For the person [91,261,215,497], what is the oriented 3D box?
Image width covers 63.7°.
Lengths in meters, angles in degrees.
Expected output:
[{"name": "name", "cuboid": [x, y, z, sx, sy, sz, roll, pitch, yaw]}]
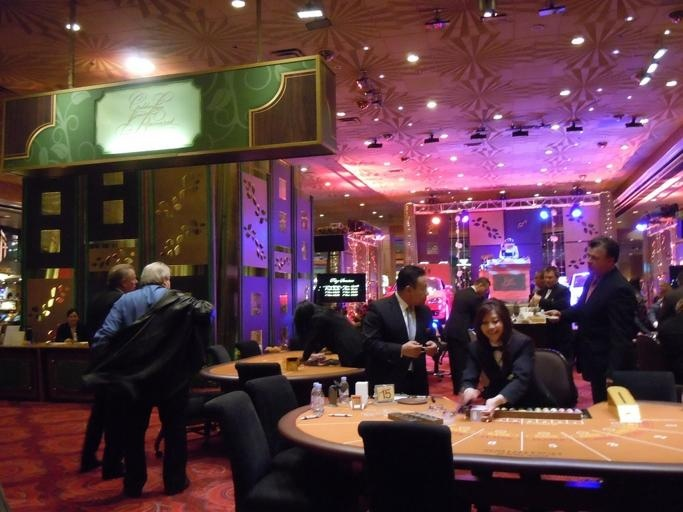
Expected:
[{"name": "person", "cuboid": [-1.625, 1.055, 4.624, 0.958, 1.943, 0.458, 2, -3, -25]}]

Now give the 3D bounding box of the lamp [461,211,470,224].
[{"name": "lamp", "cuboid": [3.886, -1.233, 17.118, 0.214, 0.331, 0.489, 0, -3, 19]}]

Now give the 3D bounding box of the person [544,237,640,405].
[{"name": "person", "cuboid": [2.255, 0.867, 4.821, 0.604, 2.024, 0.863, 1, 0, 0]}]

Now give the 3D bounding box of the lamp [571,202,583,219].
[{"name": "lamp", "cuboid": [7.153, -1.391, 16.619, 0.369, 0.506, 0.267, -14, -19, 32]}]

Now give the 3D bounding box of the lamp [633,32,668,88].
[{"name": "lamp", "cuboid": [4.935, -3.026, 8.653, 0.236, 0.134, 1.447, 26, -6, 17]}]

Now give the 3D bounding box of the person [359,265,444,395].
[{"name": "person", "cuboid": [0.491, 0.632, 4.647, 0.617, 1.096, 0.609, 0, -2, 7]}]

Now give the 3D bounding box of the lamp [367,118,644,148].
[{"name": "lamp", "cuboid": [3.449, -2.629, 12.105, 5.760, 0.450, 1.321, 0, -2, 7]}]

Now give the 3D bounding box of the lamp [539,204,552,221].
[{"name": "lamp", "cuboid": [6.250, -1.299, 16.685, 0.489, 0.432, 0.250, 2, -3, -30]}]
